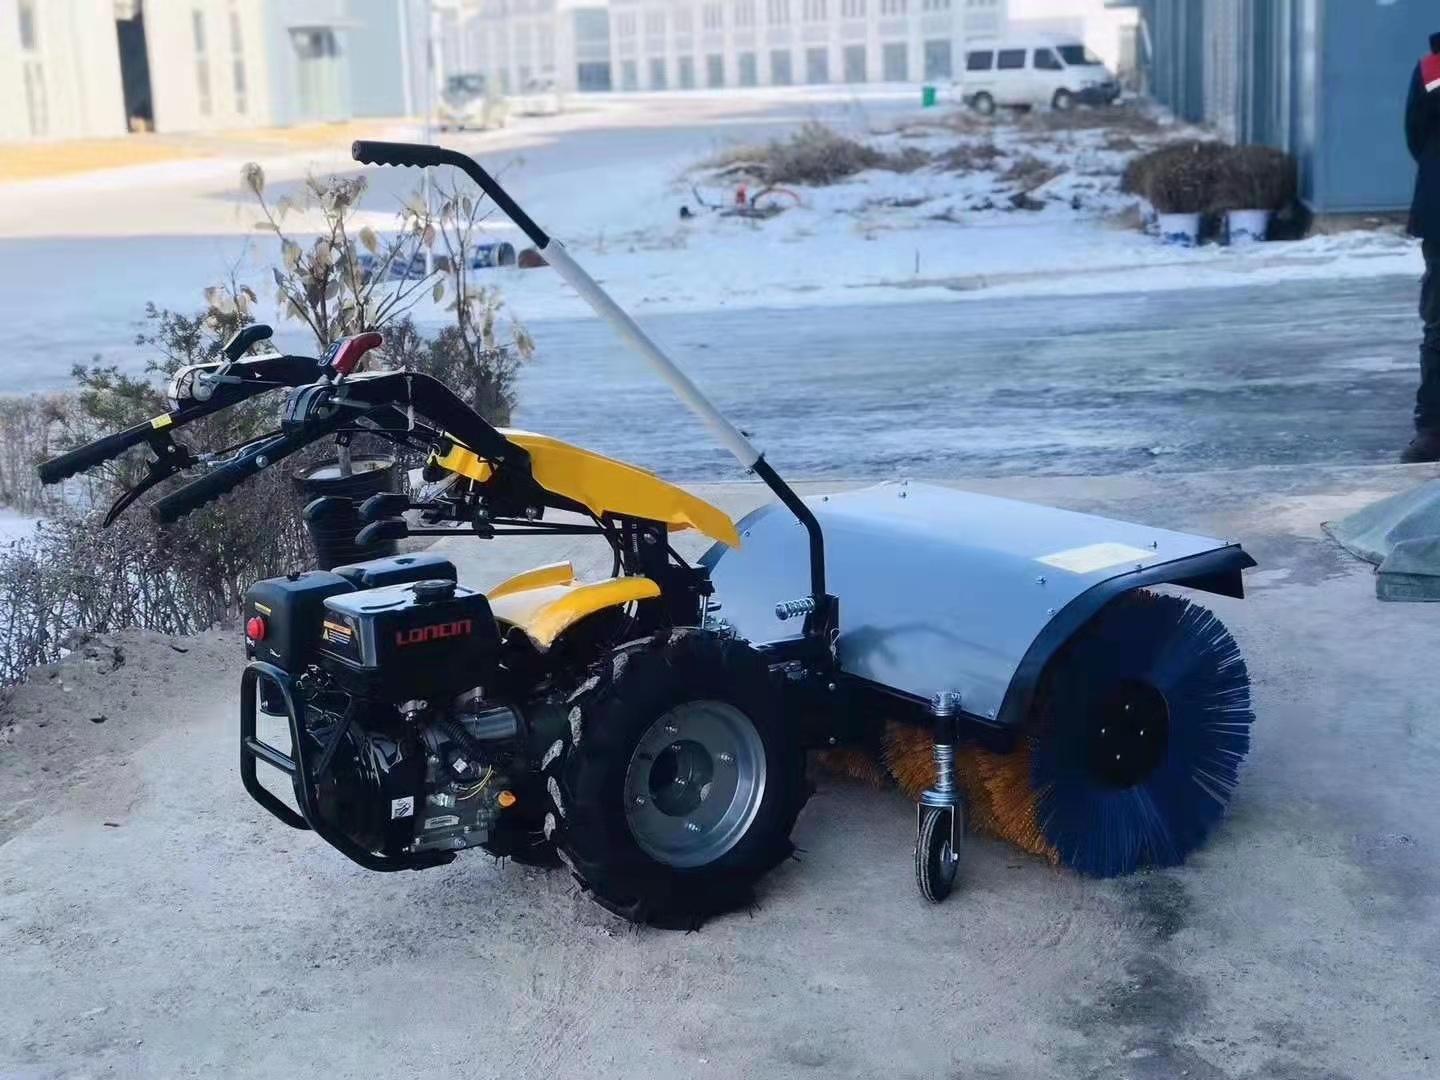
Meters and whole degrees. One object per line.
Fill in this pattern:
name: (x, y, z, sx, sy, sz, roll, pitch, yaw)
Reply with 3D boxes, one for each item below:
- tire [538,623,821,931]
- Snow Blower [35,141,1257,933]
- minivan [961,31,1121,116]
tire: (-0.124, 0.718, 4.252, 0.819, 0.862, 0.252, -9, 7, -32)
Snow Blower: (-0.145, -0.069, 4.569, 3.292, 2.406, 2.049, -8, 13, -26)
minivan: (3.878, -5.459, 16.701, 1.892, 0.941, 1.143, -5, 22, -3)
